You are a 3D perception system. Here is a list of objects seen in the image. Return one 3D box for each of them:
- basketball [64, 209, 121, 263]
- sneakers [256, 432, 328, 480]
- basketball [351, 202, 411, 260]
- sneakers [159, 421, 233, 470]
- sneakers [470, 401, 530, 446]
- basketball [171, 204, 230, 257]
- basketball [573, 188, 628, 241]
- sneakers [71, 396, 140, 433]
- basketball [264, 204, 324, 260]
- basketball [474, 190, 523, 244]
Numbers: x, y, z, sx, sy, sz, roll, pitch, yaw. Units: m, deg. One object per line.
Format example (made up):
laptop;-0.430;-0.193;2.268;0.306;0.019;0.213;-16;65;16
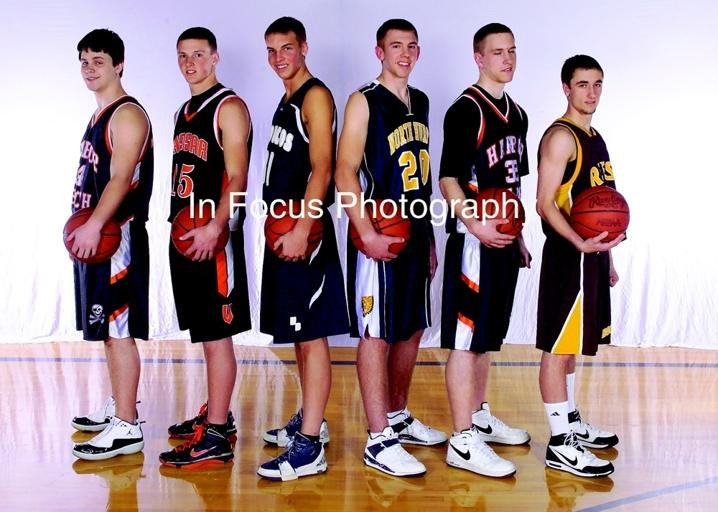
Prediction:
basketball;-1.354;-0.130;3.324;0.252;0.283;0.255;-5;7;-6
sneakers;-0.326;0.970;3.149;0.374;0.250;0.155;1;-1;-10
basketball;0.105;-0.144;3.135;0.238;0.306;0.255;-13;6;-25
sneakers;-0.802;0.958;3.276;0.409;0.273;0.157;2;-3;-10
sneakers;0.741;0.905;3.517;0.421;0.293;0.160;0;2;-2
basketball;-0.797;-0.134;3.250;0.239;0.327;0.265;8;-4;23
basketball;1.150;-0.225;3.166;0.237;0.261;0.248;12;13;0
sneakers;-1.451;0.891;3.716;0.141;0.196;0.421;-3;-4;35
basketball;-0.321;-0.101;3.102;0.244;0.269;0.238;3;9;-28
basketball;0.687;-0.213;3.131;0.182;0.238;0.197;11;-23;7
